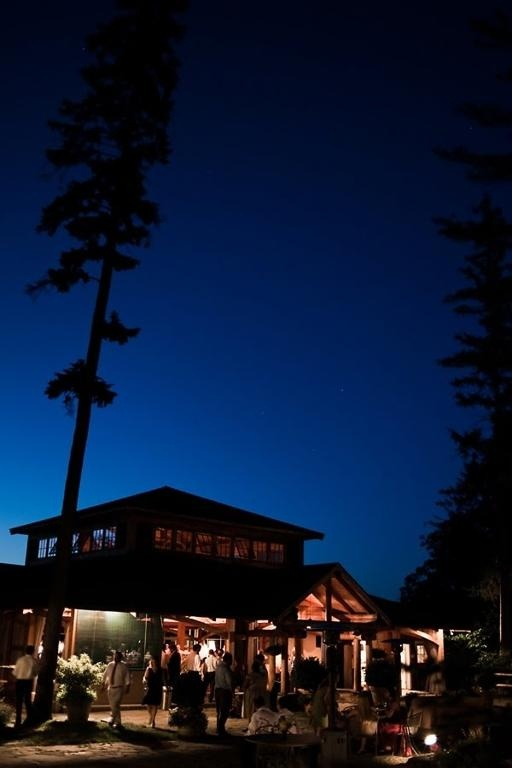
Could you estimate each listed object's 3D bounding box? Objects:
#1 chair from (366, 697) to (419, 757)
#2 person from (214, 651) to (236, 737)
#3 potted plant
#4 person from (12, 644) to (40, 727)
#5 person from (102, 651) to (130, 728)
[{"bbox_3d":[2.801,6.946,13.655,0.852,1.169,0.867,2,1,-2],"label":"chair"},{"bbox_3d":[-0.641,6.962,14.897,0.557,1.666,0.531,11,-18,-28],"label":"person"},{"bbox_3d":[-4.285,7.182,15.471,1.404,1.381,1.142,-4,-30,-11],"label":"potted plant"},{"bbox_3d":[-5.074,6.637,14.588,0.549,1.629,1.177,9,-22,-9],"label":"person"},{"bbox_3d":[-3.143,6.840,14.835,0.552,1.558,0.929,9,-22,-9],"label":"person"}]
